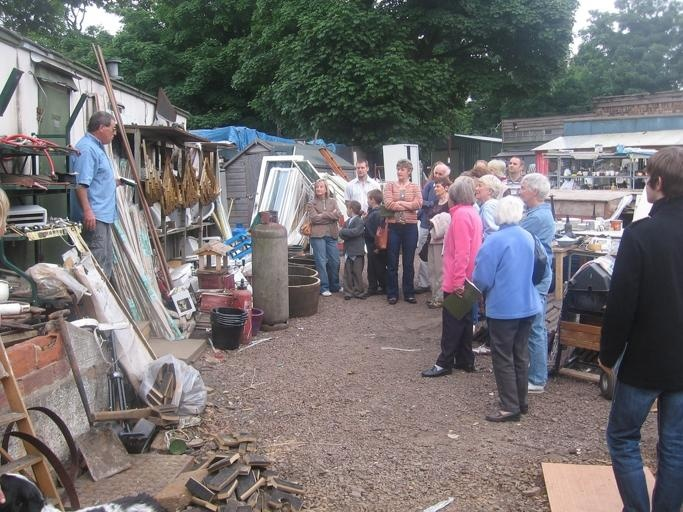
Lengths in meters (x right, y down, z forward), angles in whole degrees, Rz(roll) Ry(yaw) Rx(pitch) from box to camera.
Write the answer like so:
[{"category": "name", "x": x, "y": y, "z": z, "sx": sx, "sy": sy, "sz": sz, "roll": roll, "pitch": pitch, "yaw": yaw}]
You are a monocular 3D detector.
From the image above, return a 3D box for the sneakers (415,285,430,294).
[{"category": "sneakers", "x": 1.339, "y": 0.576, "z": 9.980, "sx": 0.244, "sy": 0.118, "sz": 0.090, "roll": 1, "pitch": 1, "yaw": -22}]

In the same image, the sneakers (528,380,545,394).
[{"category": "sneakers", "x": 1.959, "y": 1.339, "z": 6.093, "sx": 0.235, "sy": 0.117, "sz": 0.091, "roll": 6, "pitch": 5, "yaw": 6}]

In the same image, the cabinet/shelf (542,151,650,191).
[{"category": "cabinet/shelf", "x": 7.893, "y": -2.578, "z": 18.481, "sx": 2.932, "sy": 1.226, "sz": 3.314, "roll": 1, "pitch": 8, "yaw": 17}]

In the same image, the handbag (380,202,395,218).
[{"category": "handbag", "x": 0.684, "y": -0.666, "z": 9.083, "sx": 0.193, "sy": 0.185, "sz": 0.153, "roll": 0, "pitch": 4, "yaw": 28}]

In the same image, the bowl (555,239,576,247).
[{"category": "bowl", "x": 2.902, "y": -0.168, "z": 7.742, "sx": 0.235, "sy": 0.113, "sz": 0.205, "roll": 1, "pitch": 9, "yaw": 15}]

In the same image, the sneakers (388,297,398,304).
[{"category": "sneakers", "x": 0.787, "y": 0.686, "z": 9.184, "sx": 0.139, "sy": 0.097, "sz": 0.120, "roll": -2, "pitch": 9, "yaw": -6}]

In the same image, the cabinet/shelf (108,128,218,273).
[{"category": "cabinet/shelf", "x": -2.757, "y": -0.830, "z": 9.157, "sx": 0.641, "sy": 1.509, "sz": 2.458, "roll": -3, "pitch": 9, "yaw": 4}]

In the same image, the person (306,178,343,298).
[{"category": "person", "x": -0.236, "y": -0.276, "z": 9.680, "sx": 0.485, "sy": 1.851, "sz": 0.641, "roll": 4, "pitch": 10, "yaw": 28}]

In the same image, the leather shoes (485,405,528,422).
[{"category": "leather shoes", "x": 1.502, "y": 1.471, "z": 5.540, "sx": 0.390, "sy": 0.168, "sz": 0.149, "roll": 3, "pitch": 1, "yaw": 3}]

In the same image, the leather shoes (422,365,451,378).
[{"category": "leather shoes", "x": 1.026, "y": 1.252, "z": 6.513, "sx": 0.305, "sy": 0.122, "sz": 0.134, "roll": 2, "pitch": 1, "yaw": -5}]

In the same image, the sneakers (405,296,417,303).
[{"category": "sneakers", "x": 1.073, "y": 0.689, "z": 9.276, "sx": 0.073, "sy": 0.075, "sz": 0.200, "roll": -2, "pitch": 0, "yaw": -14}]

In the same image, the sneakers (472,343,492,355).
[{"category": "sneakers", "x": 1.689, "y": 1.121, "z": 7.189, "sx": 0.129, "sy": 0.106, "sz": 0.318, "roll": -5, "pitch": -4, "yaw": 22}]

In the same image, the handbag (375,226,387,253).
[{"category": "handbag", "x": 0.611, "y": -0.262, "z": 9.296, "sx": 0.172, "sy": 0.404, "sz": 0.268, "roll": -1, "pitch": 9, "yaw": 0}]

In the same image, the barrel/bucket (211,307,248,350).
[{"category": "barrel/bucket", "x": -1.361, "y": 0.865, "z": 7.258, "sx": 0.418, "sy": 0.420, "sz": 0.458, "roll": 5, "pitch": 1, "yaw": 0}]

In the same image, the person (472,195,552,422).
[{"category": "person", "x": 1.525, "y": 0.487, "z": 5.531, "sx": 0.617, "sy": 2.038, "sz": 0.402, "roll": 0, "pitch": 9, "yaw": 5}]

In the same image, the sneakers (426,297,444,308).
[{"category": "sneakers", "x": 1.420, "y": 0.721, "z": 9.060, "sx": 0.117, "sy": 0.137, "sz": 0.316, "roll": -1, "pitch": -6, "yaw": 18}]
